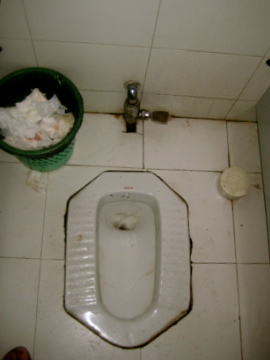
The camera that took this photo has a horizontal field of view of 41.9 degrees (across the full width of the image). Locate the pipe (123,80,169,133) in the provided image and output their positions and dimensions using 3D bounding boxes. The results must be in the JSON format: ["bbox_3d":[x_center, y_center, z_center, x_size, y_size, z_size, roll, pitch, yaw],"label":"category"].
[{"bbox_3d":[0.042,-0.265,1.425,0.183,0.273,0.070,10,56,4],"label":"pipe"}]
